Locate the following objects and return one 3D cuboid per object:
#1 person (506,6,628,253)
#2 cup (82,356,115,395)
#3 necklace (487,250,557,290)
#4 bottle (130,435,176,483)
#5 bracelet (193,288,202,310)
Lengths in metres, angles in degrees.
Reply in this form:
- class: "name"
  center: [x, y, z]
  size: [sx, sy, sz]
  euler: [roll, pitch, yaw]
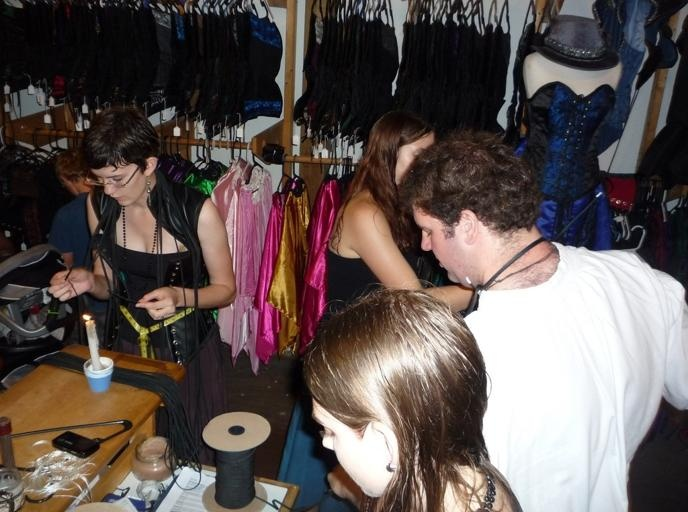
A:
- class: "person"
  center: [1.191, -0.602, 2.695]
  size: [0.528, 1.336, 0.484]
  euler: [4, 54, 21]
- class: "cup"
  center: [-0.805, 0.370, 1.635]
  size: [0.094, 0.087, 0.104]
  euler: [-2, 13, -19]
- class: "necklace"
  center: [0.498, 0.032, 1.391]
  size: [0.211, 0.109, 0.093]
  euler: [-6, 20, -30]
- class: "bottle"
  center: [-0.640, 0.636, 1.672]
  size: [0.109, 0.104, 0.121]
  euler: [7, 24, -3]
- class: "bracelet"
  center: [-0.649, 0.168, 2.162]
  size: [0.032, 0.090, 0.029]
  euler: [-5, 18, -29]
